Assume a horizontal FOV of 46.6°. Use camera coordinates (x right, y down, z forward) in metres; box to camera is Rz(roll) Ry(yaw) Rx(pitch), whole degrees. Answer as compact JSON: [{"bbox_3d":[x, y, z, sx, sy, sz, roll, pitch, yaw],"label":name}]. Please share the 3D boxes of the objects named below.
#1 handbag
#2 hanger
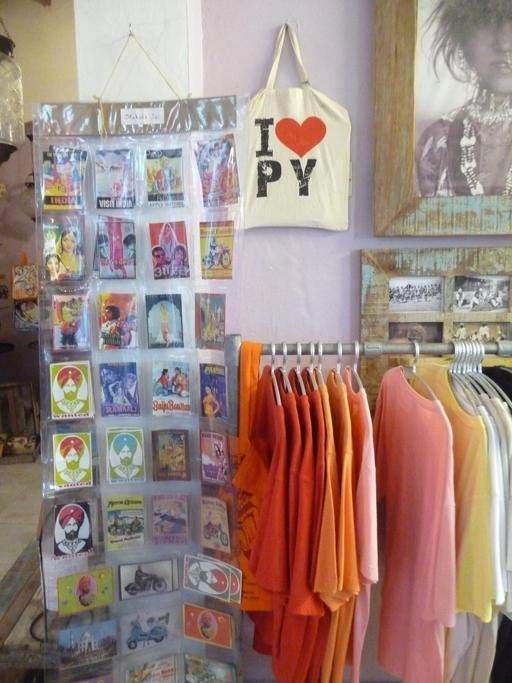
[{"bbox_3d":[0.107,-0.559,1.574,0.289,0.535,0.092,-3,8,-11],"label":"handbag"},{"bbox_3d":[0.335,0.085,1.491,0.642,0.243,0.359,-2,10,1],"label":"hanger"}]
